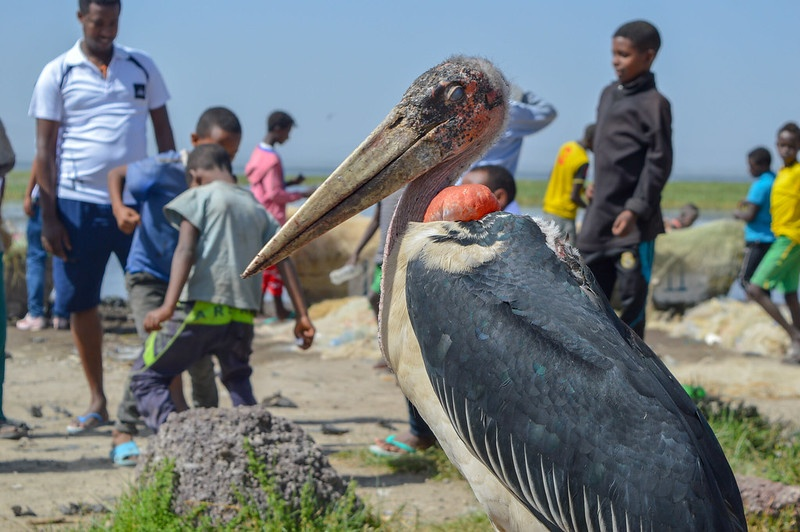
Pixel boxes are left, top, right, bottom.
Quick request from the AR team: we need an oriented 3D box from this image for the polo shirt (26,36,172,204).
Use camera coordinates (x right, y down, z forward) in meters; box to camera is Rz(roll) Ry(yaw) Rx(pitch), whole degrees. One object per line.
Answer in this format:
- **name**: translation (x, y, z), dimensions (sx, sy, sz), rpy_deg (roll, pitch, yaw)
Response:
- **polo shirt**: translation (-2.172, -1.052, 9.511), dimensions (1.068, 1.139, 0.594), rpy_deg (-8, 17, -31)

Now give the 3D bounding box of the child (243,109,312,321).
- **child**: translation (-1.138, -0.557, 12.756), dimensions (0.711, 1.960, 0.659), rpy_deg (-4, 22, -7)

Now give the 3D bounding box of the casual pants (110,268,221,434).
- **casual pants**: translation (-1.622, 0.605, 9.000), dimensions (0.754, 1.552, 0.536), rpy_deg (-17, -24, 36)

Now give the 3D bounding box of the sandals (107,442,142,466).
- **sandals**: translation (-1.925, 1.308, 9.035), dimensions (0.202, 0.156, 0.154), rpy_deg (1, 4, -15)

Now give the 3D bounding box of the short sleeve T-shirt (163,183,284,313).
- **short sleeve T-shirt**: translation (-1.227, -0.225, 9.156), dimensions (0.804, 0.705, 0.398), rpy_deg (-2, 2, -38)

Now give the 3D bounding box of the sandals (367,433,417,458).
- **sandals**: translation (-0.070, 1.348, 9.633), dimensions (0.315, 0.084, 0.144), rpy_deg (5, 1, -19)

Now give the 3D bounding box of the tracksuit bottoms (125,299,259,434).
- **tracksuit bottoms**: translation (-1.453, 0.696, 8.951), dimensions (0.850, 1.018, 0.396), rpy_deg (7, 8, -34)

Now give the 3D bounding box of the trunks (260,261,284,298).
- **trunks**: translation (-1.126, 0.111, 11.329), dimensions (0.189, 0.137, 0.287), rpy_deg (-10, 12, 3)

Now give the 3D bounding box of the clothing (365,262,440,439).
- **clothing**: translation (-0.055, 0.782, 9.921), dimensions (0.422, 1.629, 0.403), rpy_deg (-7, -2, 9)
